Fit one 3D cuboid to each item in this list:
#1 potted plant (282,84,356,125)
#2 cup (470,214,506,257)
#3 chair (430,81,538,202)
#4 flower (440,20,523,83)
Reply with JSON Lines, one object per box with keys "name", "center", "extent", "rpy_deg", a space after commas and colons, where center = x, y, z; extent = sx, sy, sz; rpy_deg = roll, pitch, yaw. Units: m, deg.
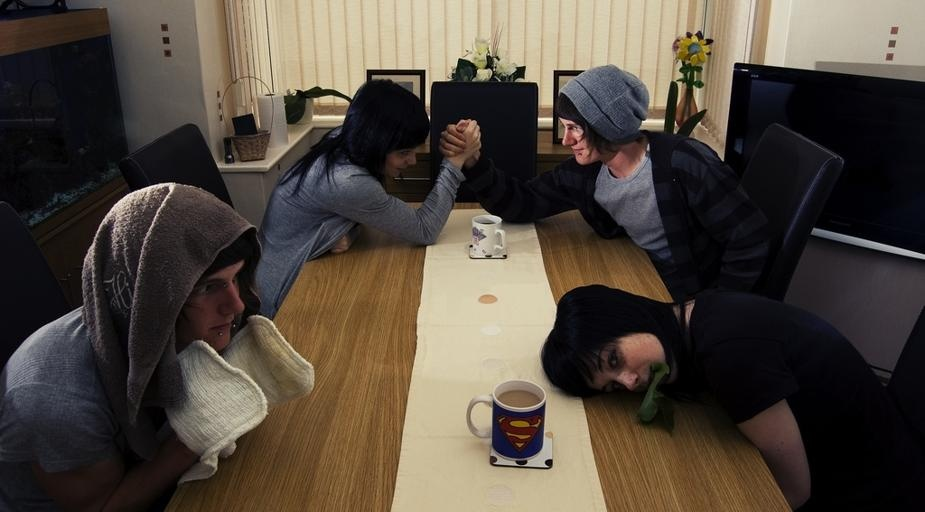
{"name": "potted plant", "center": [-1.052, -1.192, 4.096], "extent": [0.625, 0.265, 0.521], "rpy_deg": [-8, 21, -24]}
{"name": "cup", "center": [0.098, -0.100, 2.263], "extent": [0.118, 0.147, 0.193], "rpy_deg": [-4, 25, -8]}
{"name": "chair", "center": [0.076, -0.741, 3.211], "extent": [0.618, 0.675, 0.634], "rpy_deg": [-2, 20, -4]}
{"name": "flower", "center": [0.169, -1.382, 3.888], "extent": [0.654, 0.351, 0.652], "rpy_deg": [2, 58, 0]}
